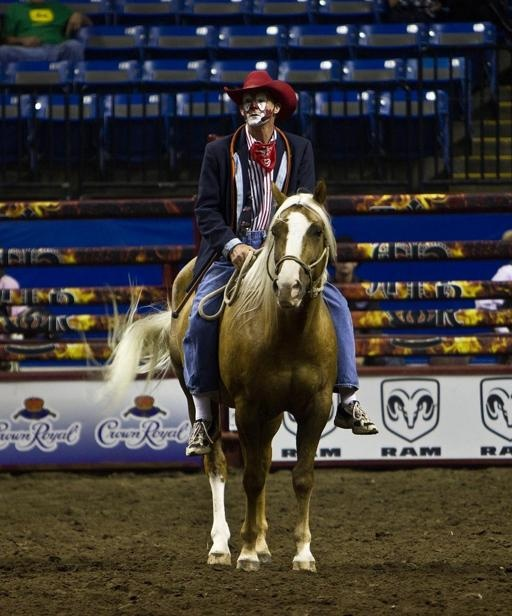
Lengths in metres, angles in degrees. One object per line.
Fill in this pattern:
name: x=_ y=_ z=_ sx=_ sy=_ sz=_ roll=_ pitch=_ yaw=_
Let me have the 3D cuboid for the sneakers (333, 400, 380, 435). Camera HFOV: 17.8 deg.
sneakers: x=0.856 y=0.909 z=13.669 sx=0.179 sy=0.286 sz=0.494 roll=-9 pitch=17 yaw=-36

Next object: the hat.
hat: x=0.043 y=-1.798 z=13.791 sx=0.578 sy=0.400 sz=0.414 roll=0 pitch=14 yaw=0
